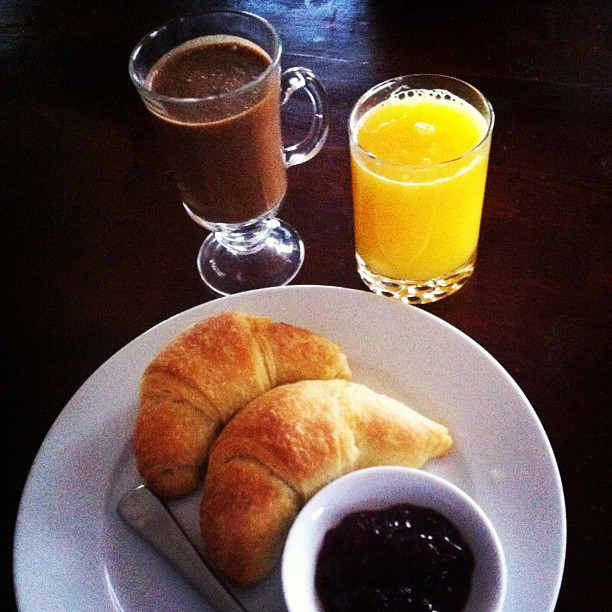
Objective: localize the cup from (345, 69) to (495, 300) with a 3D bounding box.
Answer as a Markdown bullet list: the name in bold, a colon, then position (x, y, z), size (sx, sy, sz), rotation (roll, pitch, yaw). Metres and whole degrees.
- **cup**: position (0.188, -0.186, 0.992), size (0.227, 0.284, 0.226), rotation (-3, 52, 4)

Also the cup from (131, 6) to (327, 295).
- **cup**: position (-0.129, -0.224, 1.031), size (0.298, 0.429, 0.247), rotation (-17, 50, -7)
